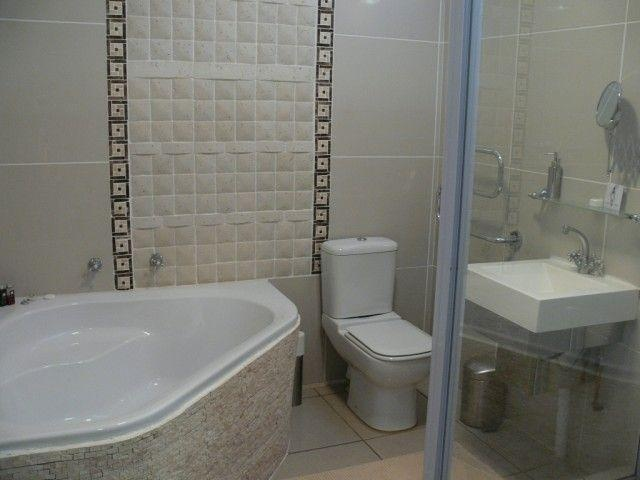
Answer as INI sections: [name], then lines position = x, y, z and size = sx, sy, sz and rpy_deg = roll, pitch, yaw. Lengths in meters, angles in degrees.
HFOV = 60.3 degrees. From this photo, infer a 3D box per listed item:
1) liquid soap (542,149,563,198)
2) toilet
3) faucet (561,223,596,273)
[liquid soap]
position = 0.397, -0.107, 0.936
size = 0.007, 0.078, 0.032
rpy_deg = -7, 15, -35
[toilet]
position = 0.313, 0.503, 2.970
size = 0.466, 0.894, 0.708
rpy_deg = -3, 13, -17
[faucet]
position = 0.429, 0.016, 0.906
size = 0.044, 0.084, 0.058
rpy_deg = -11, 19, -34
